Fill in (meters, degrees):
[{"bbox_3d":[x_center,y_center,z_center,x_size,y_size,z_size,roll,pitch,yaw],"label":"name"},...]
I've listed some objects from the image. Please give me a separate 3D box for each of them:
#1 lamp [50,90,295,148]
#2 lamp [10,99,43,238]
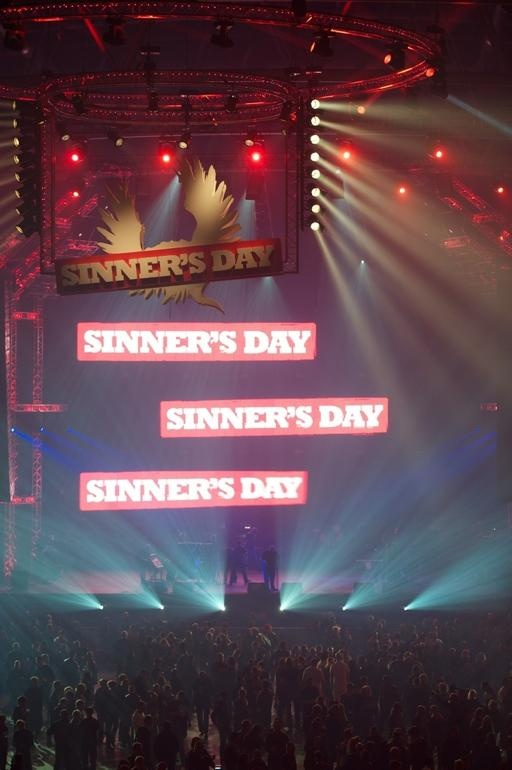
[{"bbox_3d":[-1.318,-4.799,14.741,5.290,1.178,0.952,-3,-69,-11],"label":"lamp"},{"bbox_3d":[-3.460,-3.516,12.719,0.461,1.825,0.484,13,14,41],"label":"lamp"}]
